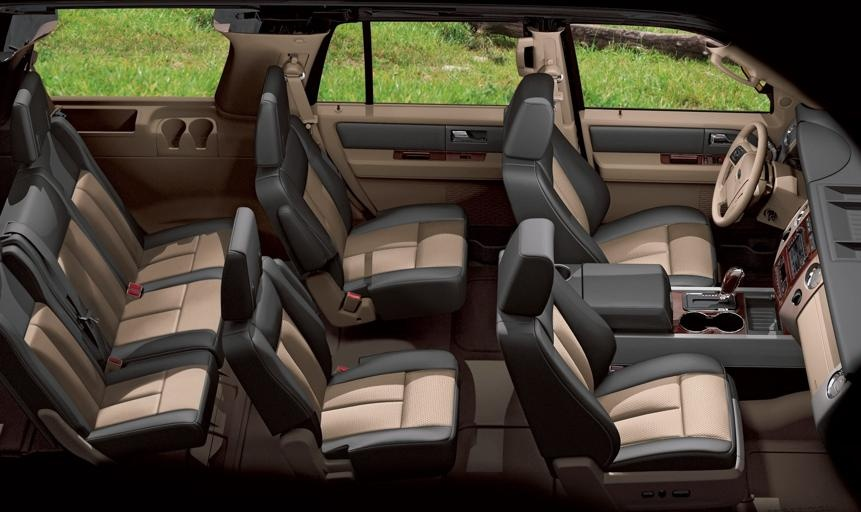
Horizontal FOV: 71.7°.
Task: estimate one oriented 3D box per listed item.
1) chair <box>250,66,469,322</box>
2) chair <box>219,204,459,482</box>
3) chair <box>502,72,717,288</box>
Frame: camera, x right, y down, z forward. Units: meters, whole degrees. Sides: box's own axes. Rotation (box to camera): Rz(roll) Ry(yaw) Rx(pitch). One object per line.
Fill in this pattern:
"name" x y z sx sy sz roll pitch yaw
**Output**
"chair" -0.359 -0.332 3.413 1.117 1.295 0.838 -1 35 -3
"chair" -0.381 0.415 2.775 1.024 1.200 0.687 -3 31 -4
"chair" 1.013 -0.365 3.296 1.160 1.170 0.781 2 40 22
